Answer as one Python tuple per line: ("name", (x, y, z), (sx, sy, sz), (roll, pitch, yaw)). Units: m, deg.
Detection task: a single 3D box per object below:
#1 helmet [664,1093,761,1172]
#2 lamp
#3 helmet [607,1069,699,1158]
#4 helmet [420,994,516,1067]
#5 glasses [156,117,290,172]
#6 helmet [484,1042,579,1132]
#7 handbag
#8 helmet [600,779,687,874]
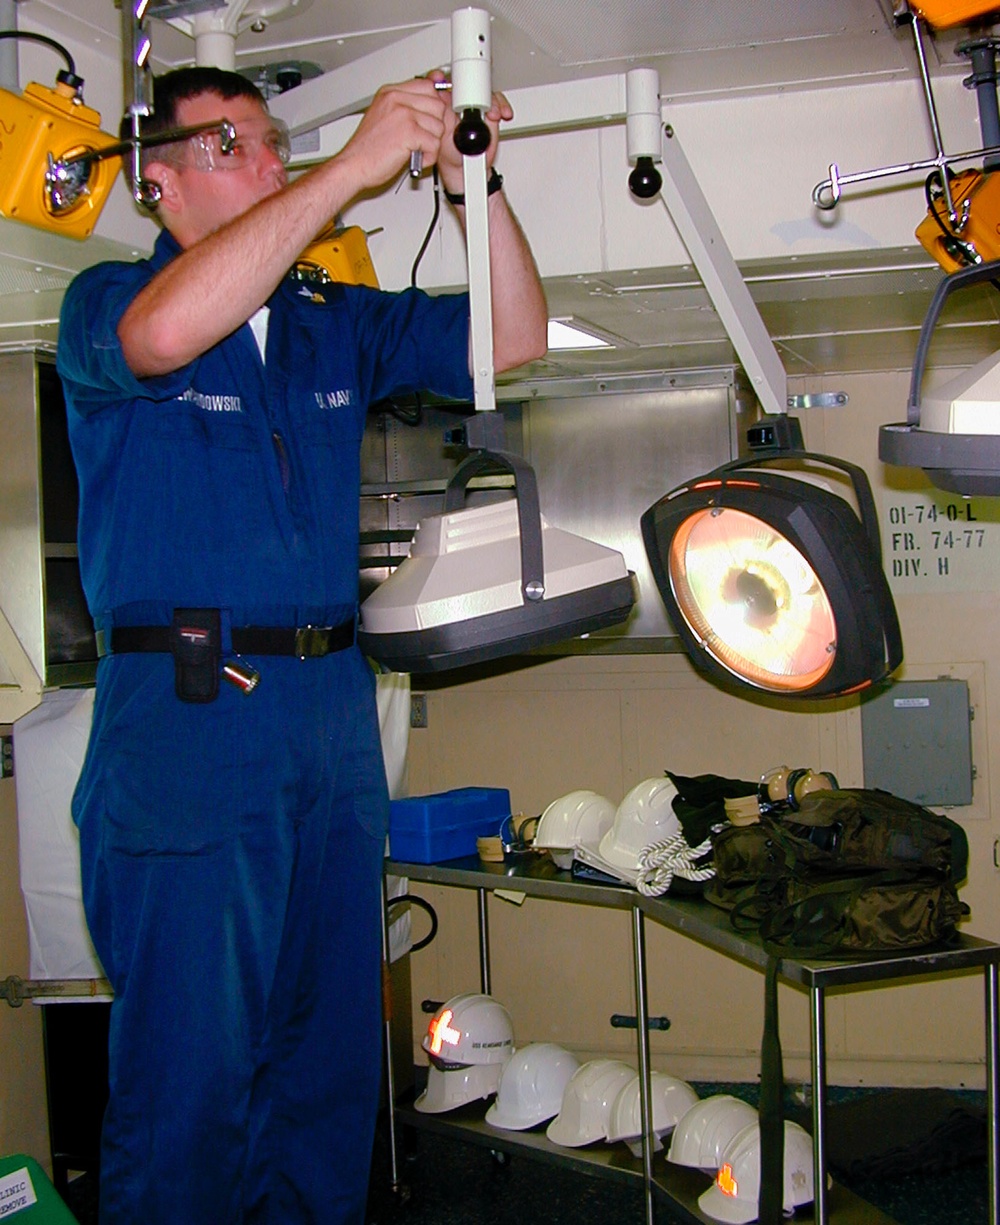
("helmet", (0.514, 1.220, 2.679), (0.211, 0.126, 0.162), (9, -10, -43))
("lamp", (-0.027, -0.179, 1.365), (0.940, 0.965, 0.422), (0, 1, 2))
("helmet", (0.403, 1.264, 2.844), (0.163, 0.147, 0.239), (-22, -19, 36))
("helmet", (-0.073, 1.169, 3.176), (0.207, 0.171, 0.169), (22, -15, -35))
("glasses", (-0.315, -0.553, 1.320), (0.114, 0.042, 0.082), (-8, 16, -18))
("helmet", (0.085, 1.251, 3.001), (0.157, 0.111, 0.217), (-2, 6, 42))
("handbag", (0.687, 0.473, 2.247), (0.443, 0.183, 0.319), (-8, 5, -18))
("helmet", (0.364, 0.531, 2.821), (0.224, 0.128, 0.161), (-34, 29, -21))
